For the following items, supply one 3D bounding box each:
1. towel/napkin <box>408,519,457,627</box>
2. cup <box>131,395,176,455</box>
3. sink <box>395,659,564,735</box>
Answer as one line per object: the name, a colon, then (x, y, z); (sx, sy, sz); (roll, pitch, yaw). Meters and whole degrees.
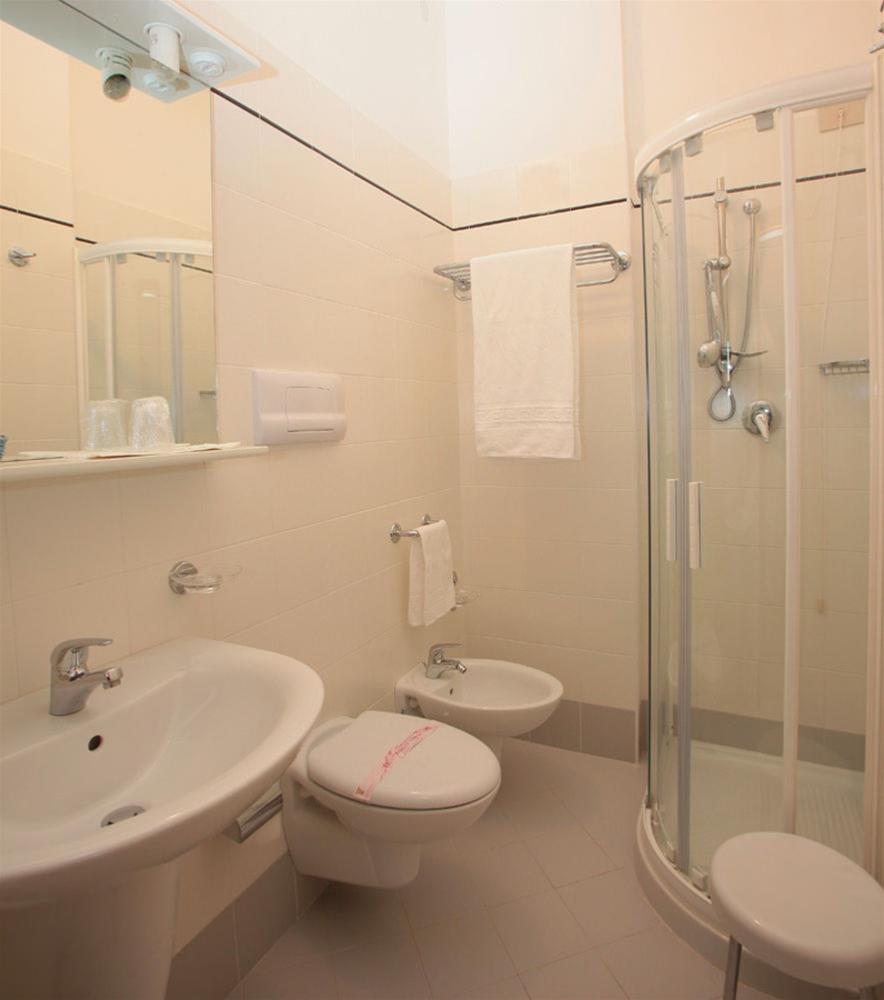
towel/napkin: (-0.036, 0.220, 2.340); (0.064, 0.371, 0.285); (3, 6, 23)
cup: (-0.516, -0.127, 1.399); (0.068, 0.154, 0.088); (1, 1, -11)
sink: (0.127, 0.574, 2.293); (0.299, 0.143, 0.300); (5, 13, 23)
